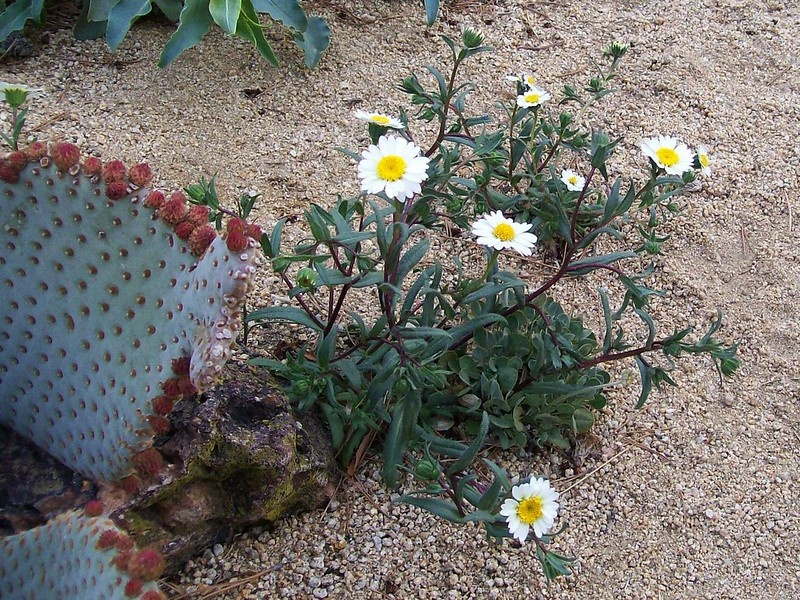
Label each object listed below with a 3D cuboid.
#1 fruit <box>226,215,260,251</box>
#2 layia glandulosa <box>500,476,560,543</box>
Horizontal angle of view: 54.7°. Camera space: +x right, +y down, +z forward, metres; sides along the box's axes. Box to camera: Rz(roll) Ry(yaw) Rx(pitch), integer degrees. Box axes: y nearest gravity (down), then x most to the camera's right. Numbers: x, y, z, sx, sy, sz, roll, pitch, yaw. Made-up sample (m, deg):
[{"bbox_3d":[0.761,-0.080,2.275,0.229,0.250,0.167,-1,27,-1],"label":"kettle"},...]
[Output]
[{"bbox_3d":[-0.428,-0.182,2.128,0.067,0.099,0.059,13,97,3],"label":"fruit"},{"bbox_3d":[0.396,0.648,2.382,0.175,0.166,0.146,-12,57,-18],"label":"layia glandulosa"}]
